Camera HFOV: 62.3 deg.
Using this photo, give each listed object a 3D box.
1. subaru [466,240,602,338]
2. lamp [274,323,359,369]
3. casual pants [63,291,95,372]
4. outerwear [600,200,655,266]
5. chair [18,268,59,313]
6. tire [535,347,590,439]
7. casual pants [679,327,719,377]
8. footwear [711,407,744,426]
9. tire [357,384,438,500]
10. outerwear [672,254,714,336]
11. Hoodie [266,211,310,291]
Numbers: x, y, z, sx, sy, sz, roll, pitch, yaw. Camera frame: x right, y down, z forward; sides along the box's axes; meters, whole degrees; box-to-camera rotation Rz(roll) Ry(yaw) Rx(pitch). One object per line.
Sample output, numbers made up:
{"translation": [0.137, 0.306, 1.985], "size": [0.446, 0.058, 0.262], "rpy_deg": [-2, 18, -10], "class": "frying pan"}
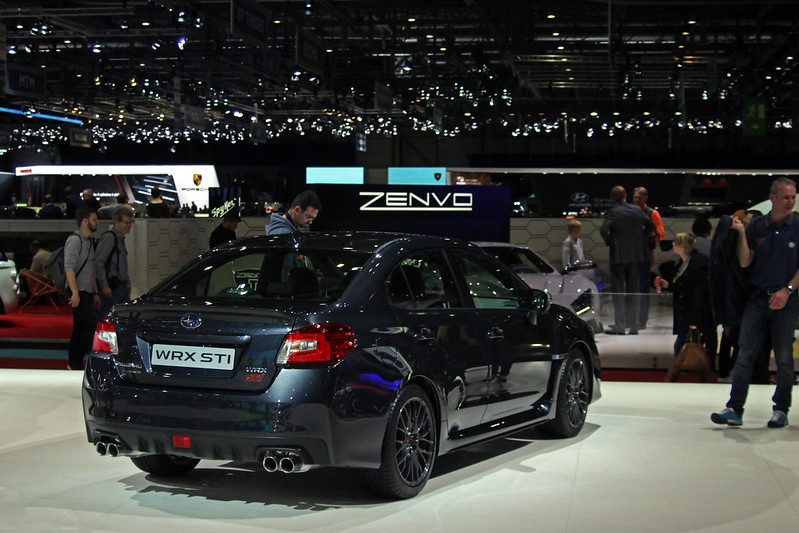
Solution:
{"translation": [2.499, 0.421, 10.951], "size": [1.742, 0.592, 0.972], "rpy_deg": [8, 16, 0], "class": "subaru"}
{"translation": [-0.519, 0.501, 4.137], "size": [0.287, 0.159, 0.379], "rpy_deg": [-6, -5, 32], "class": "lamp"}
{"translation": [-4.468, 0.853, 9.420], "size": [0.425, 1.229, 0.407], "rpy_deg": [5, 2, -38], "class": "casual pants"}
{"translation": [4.272, -0.615, 12.566], "size": [1.183, 1.115, 0.611], "rpy_deg": [-5, 3, -16], "class": "outerwear"}
{"translation": [-8.796, 0.660, 16.387], "size": [0.974, 0.747, 0.931], "rpy_deg": [14, -9, 26], "class": "chair"}
{"translation": [1.612, 1.235, 6.478], "size": [0.321, 0.875, 0.957], "rpy_deg": [-1, -19, 32], "class": "tire"}
{"translation": [4.070, 1.149, 8.977], "size": [0.372, 0.689, 0.706], "rpy_deg": [11, -10, 43], "class": "casual pants"}
{"translation": [3.258, 1.515, 6.609], "size": [0.404, 0.161, 0.148], "rpy_deg": [6, -3, -11], "class": "footwear"}
{"translation": [-0.030, 1.187, 4.487], "size": [0.244, 0.744, 0.749], "rpy_deg": [-3, -21, 31], "class": "tire"}
{"translation": [4.072, 0.388, 9.183], "size": [0.457, 1.157, 0.837], "rpy_deg": [0, 2, -16], "class": "outerwear"}
{"translation": [-0.941, -0.096, 5.074], "size": [0.205, 0.649, 0.265], "rpy_deg": [8, -11, 28], "class": "Hoodie"}
